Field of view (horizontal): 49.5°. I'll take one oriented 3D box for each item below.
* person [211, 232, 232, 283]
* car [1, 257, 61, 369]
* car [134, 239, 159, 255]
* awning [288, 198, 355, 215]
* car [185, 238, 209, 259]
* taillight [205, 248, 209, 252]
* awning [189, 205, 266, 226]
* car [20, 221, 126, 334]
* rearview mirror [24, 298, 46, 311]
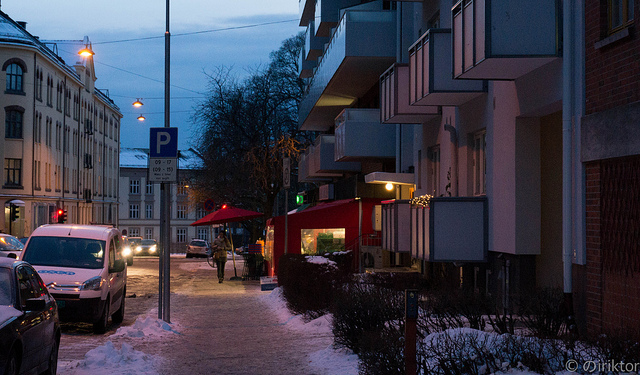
[{"bbox_3d":[-4.754,3.380,33.410,0.889,2.476,1.122,1,-8,-5],"label":"person"},{"bbox_3d":[-5.597,2.434,13.079,0.815,2.142,2.525,1,-9,-9],"label":"car"},{"bbox_3d":[-17.217,6.000,68.672,2.221,1.465,2.430,2,-9,-14],"label":"car"},{"bbox_3d":[0.414,0.915,34.749,2.594,0.820,2.581,-8,-12,39],"label":"awning"},{"bbox_3d":[-11.484,5.789,65.210,1.399,1.058,3.089,1,1,-3],"label":"car"},{"bbox_3d":[-10.388,5.759,63.907,0.258,0.261,0.141,2,-6,-7],"label":"taillight"},{"bbox_3d":[-4.883,1.399,35.577,2.910,1.025,2.171,3,-10,-20],"label":"awning"},{"bbox_3d":[-6.646,2.411,19.694,2.023,1.857,3.415,1,-8,-1],"label":"car"},{"bbox_3d":[-5.386,2.227,13.085,0.353,0.224,0.330,4,-10,-25],"label":"rearview mirror"}]
